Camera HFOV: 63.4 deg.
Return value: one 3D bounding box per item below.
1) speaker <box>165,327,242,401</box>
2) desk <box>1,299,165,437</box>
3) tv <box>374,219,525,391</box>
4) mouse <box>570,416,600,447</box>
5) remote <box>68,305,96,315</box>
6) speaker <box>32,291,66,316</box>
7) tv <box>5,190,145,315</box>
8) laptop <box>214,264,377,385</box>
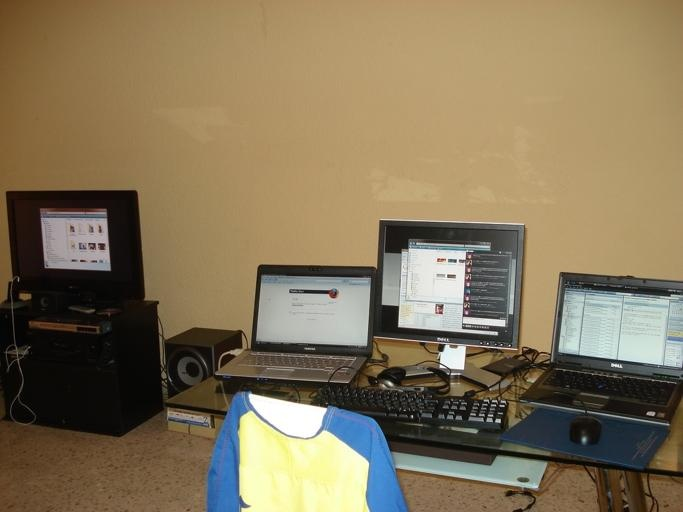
[{"bbox_3d":[-0.745,0.588,3.201,0.407,0.369,0.403,-3,12,13],"label":"speaker"},{"bbox_3d":[-1.494,0.627,3.136,0.850,0.736,0.368,4,6,1],"label":"desk"},{"bbox_3d":[0.444,0.196,2.270,0.711,0.654,0.345,4,5,14],"label":"tv"},{"bbox_3d":[0.773,0.555,1.752,0.065,0.024,0.091,6,38,29],"label":"mouse"},{"bbox_3d":[-1.470,0.307,3.158,0.131,0.012,0.047,11,22,27],"label":"remote"},{"bbox_3d":[-1.701,0.255,3.236,0.223,0.134,0.115,2,5,8],"label":"speaker"},{"bbox_3d":[-1.528,-0.022,3.205,0.795,0.503,0.070,4,11,11],"label":"tv"},{"bbox_3d":[-0.153,0.283,2.385,0.628,0.373,0.508,2,10,14],"label":"laptop"}]
